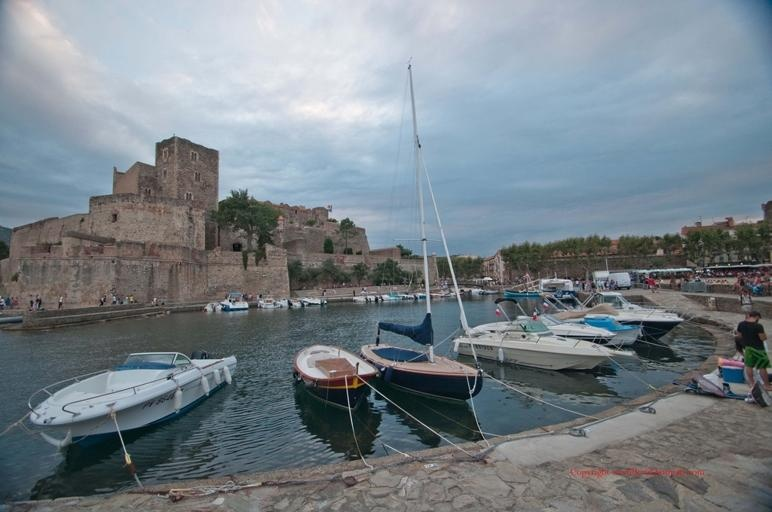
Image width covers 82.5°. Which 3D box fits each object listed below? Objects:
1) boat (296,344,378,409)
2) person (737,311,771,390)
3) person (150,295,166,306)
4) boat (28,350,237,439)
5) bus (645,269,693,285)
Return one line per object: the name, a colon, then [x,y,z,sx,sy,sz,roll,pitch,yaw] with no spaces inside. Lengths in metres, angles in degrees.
boat: [-2.029,4.630,17.045,2.848,1.939,3.850,-2,-4,-17]
person: [11.047,2.843,13.235,0.653,1.821,0.897,-7,-5,36]
person: [-22.192,4.360,42.830,0.556,0.696,1.896,3,5,-12]
boat: [-8.347,4.988,15.048,3.026,1.704,5.484,-2,3,25]
bus: [33.941,2.473,52.769,6.920,1.713,1.855,-1,1,29]
